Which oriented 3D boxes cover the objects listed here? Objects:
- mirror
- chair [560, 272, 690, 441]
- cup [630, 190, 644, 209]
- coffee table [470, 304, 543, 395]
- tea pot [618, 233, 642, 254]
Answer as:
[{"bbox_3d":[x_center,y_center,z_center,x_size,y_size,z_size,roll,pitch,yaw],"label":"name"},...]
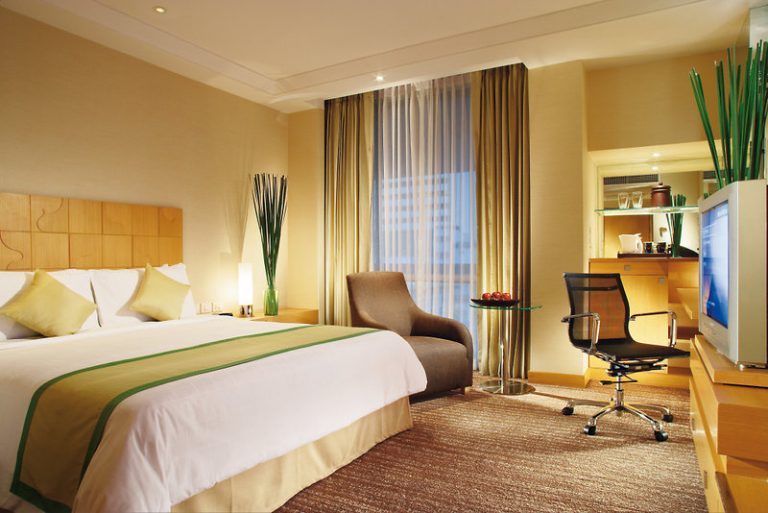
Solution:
[{"bbox_3d":[2.807,-0.481,5.243,1.172,1.149,0.362,-1,-3,33],"label":"mirror"},{"bbox_3d":[2.082,0.809,4.706,0.971,1.329,0.935,0,1,-36],"label":"chair"},{"bbox_3d":[2.886,-0.636,6.144,0.129,0.174,0.185,3,10,23],"label":"cup"},{"bbox_3d":[1.301,0.990,5.777,0.833,0.971,0.878,0,-5,9],"label":"coffee table"},{"bbox_3d":[2.754,-0.143,6.003,0.232,0.215,0.218,3,-3,0],"label":"tea pot"}]
